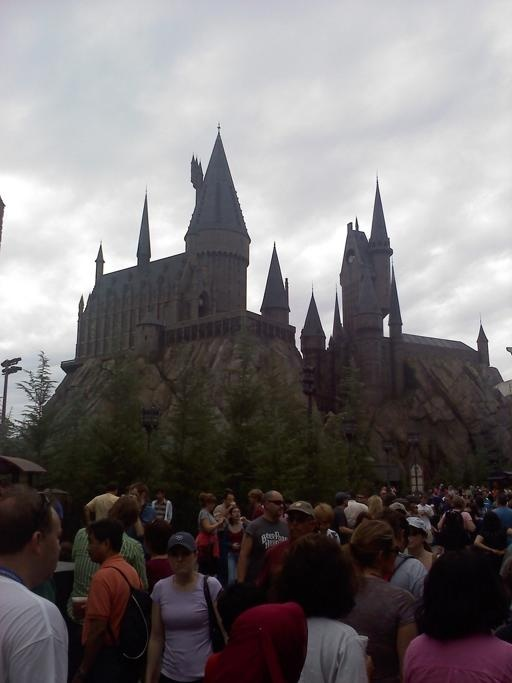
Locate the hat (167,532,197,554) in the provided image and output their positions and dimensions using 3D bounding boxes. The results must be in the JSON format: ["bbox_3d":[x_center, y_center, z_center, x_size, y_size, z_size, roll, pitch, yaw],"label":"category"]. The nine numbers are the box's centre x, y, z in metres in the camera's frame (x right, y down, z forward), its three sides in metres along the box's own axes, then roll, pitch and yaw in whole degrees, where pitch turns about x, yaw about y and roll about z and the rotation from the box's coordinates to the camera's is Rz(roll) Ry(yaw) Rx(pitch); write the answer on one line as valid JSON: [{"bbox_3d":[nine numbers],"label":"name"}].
[{"bbox_3d":[-0.499,1.370,4.501,0.136,0.113,0.190,0,-27,6],"label":"hat"}]

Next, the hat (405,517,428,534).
[{"bbox_3d":[1.403,1.575,5.677,0.194,0.093,0.283,13,-17,28],"label":"hat"}]

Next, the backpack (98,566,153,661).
[{"bbox_3d":[-0.812,1.784,4.306,0.257,0.601,0.190,-1,-10,-14],"label":"backpack"}]
